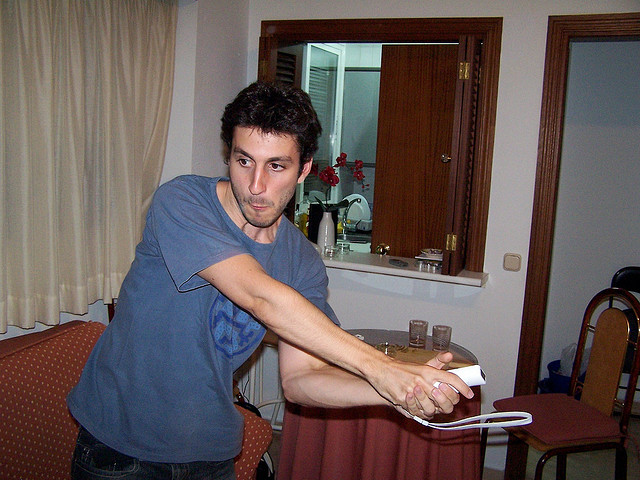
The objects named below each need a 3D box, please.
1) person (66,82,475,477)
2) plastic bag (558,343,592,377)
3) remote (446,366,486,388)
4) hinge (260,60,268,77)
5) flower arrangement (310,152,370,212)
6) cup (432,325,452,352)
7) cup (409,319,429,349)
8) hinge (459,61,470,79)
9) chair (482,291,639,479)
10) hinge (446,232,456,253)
[{"bbox_3d":[-0.206,0.164,1.455,1.061,1.243,0.440,3,8,11],"label":"person"},{"bbox_3d":[1.953,0.924,3.786,0.188,0.218,0.468,5,9,27],"label":"plastic bag"},{"bbox_3d":[0.359,0.328,1.204,0.090,0.052,0.076,3,9,14],"label":"remote"},{"bbox_3d":[-0.383,-1.176,3.371,0.071,0.112,0.021,5,8,2],"label":"hinge"},{"bbox_3d":[0.190,-0.494,4.319,0.580,0.640,0.241,4,-4,-6],"label":"flower arrangement"},{"bbox_3d":[0.618,0.499,2.509,0.100,0.128,0.111,1,-2,2],"label":"cup"},{"bbox_3d":[0.503,0.482,2.525,0.114,0.148,0.125,2,-6,0],"label":"cup"},{"bbox_3d":[0.851,-0.997,2.897,0.056,0.097,0.014,3,9,15],"label":"hinge"},{"bbox_3d":[1.315,0.733,2.569,0.599,0.946,0.443,-1,8,-13],"label":"chair"},{"bbox_3d":[0.803,0.018,3.014,0.057,0.111,0.018,5,9,26],"label":"hinge"}]
